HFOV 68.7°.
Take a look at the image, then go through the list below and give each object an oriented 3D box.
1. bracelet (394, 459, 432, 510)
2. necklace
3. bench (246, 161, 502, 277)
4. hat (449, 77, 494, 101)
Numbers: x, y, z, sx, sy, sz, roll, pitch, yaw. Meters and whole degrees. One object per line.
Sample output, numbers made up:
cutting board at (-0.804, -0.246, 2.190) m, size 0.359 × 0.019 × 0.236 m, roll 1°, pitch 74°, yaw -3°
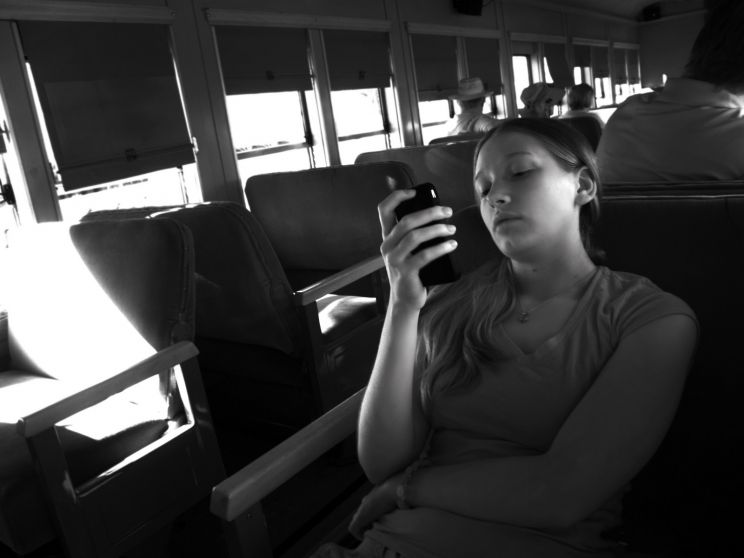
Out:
bracelet at (0.096, 0.466, 1.241) m, size 0.063 × 0.033 × 0.089 m, roll -7°, pitch 44°, yaw 46°
necklace at (0.427, 0.040, 1.241) m, size 0.172 × 0.044 × 0.026 m, roll -39°, pitch -35°, yaw 25°
bench at (-0.143, -0.326, 3.339) m, size 0.936 × 0.571 × 0.683 m, roll -2°, pitch 8°, yaw 30°
hat at (1.195, -2.334, 6.699) m, size 0.508 × 0.230 × 0.586 m, roll -2°, pitch 22°, yaw 21°
